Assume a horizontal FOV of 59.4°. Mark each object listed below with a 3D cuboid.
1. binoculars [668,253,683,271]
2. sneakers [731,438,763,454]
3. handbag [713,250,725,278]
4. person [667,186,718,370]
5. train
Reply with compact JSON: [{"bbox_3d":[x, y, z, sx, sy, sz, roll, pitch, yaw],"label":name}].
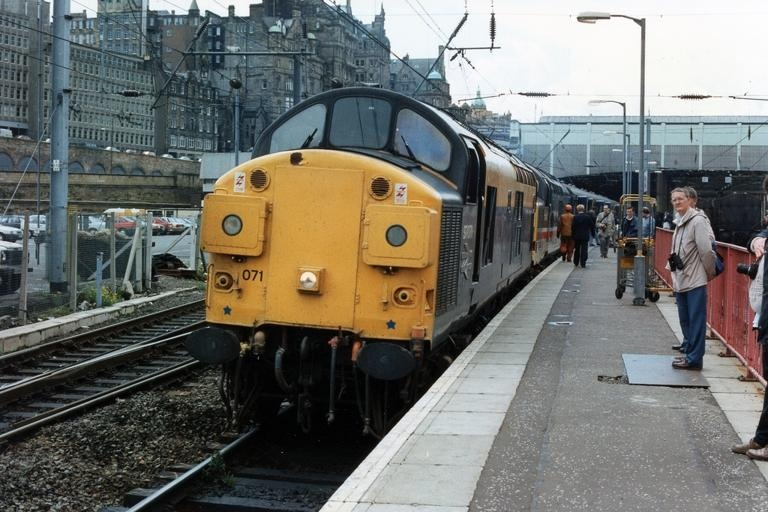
[{"bbox_3d":[4.076,0.063,9.461,0.093,0.247,0.170,-4,-4,-32],"label":"binoculars"},{"bbox_3d":[3.761,1.997,7.036,0.296,0.128,0.116,1,3,18],"label":"sneakers"},{"bbox_3d":[4.697,0.091,9.463,0.091,0.273,0.258,2,7,32],"label":"handbag"},{"bbox_3d":[4.376,0.343,9.588,0.599,2.642,0.593,1,6,28],"label":"person"},{"bbox_3d":[0.002,-0.012,10.475,2.948,5.135,5.381,1,6,25],"label":"train"}]
